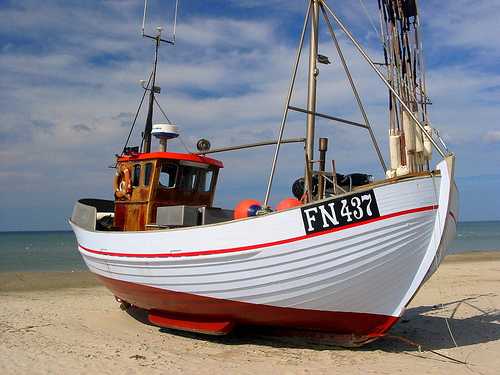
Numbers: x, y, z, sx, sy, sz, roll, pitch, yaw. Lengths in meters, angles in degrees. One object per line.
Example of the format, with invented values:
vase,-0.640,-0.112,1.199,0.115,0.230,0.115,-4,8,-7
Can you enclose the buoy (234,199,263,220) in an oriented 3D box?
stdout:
buoy,-0.072,0.525,14.833,0.660,0.699,0.612,7,-5,-5

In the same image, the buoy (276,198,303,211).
buoy,0.912,0.389,14.443,0.477,0.322,0.560,-13,-3,1
